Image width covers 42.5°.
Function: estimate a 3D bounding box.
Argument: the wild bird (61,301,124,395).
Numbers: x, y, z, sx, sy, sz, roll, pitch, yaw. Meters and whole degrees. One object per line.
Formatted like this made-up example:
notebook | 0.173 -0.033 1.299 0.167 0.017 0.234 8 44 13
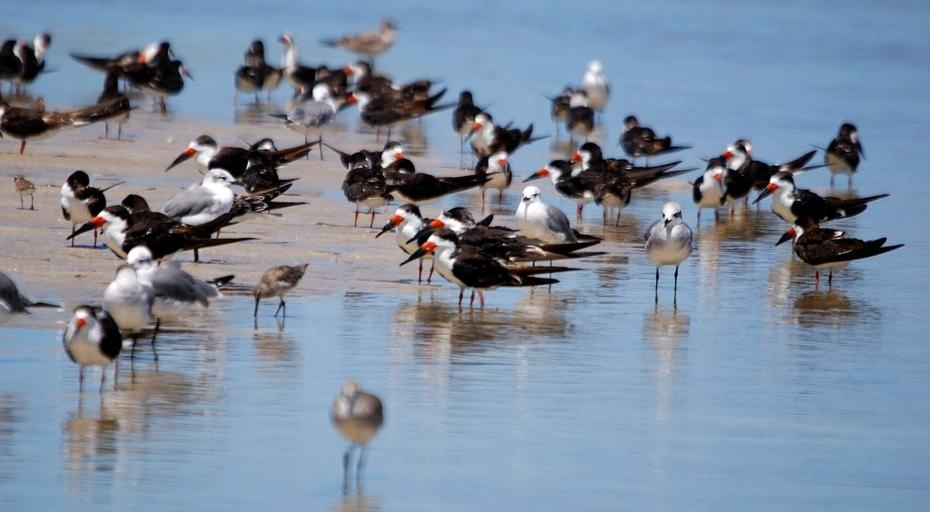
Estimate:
wild bird | -5.199 1.245 16.730 0.753 1.223 0.773 3 11 -14
